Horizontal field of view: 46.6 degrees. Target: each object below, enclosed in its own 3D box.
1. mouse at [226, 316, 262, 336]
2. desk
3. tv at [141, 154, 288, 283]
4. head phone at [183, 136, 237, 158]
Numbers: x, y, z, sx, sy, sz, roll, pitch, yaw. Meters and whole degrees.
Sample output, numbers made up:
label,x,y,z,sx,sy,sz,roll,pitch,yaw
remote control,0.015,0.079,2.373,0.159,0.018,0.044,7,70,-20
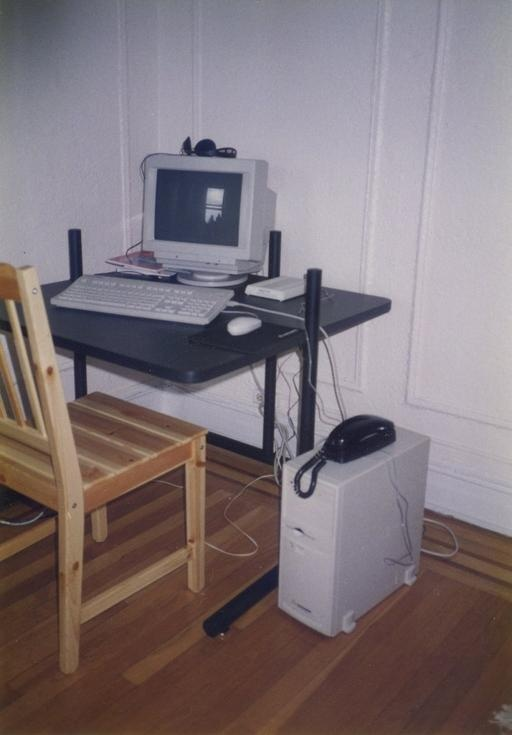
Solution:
label,x,y,z,sx,sy,sz,roll,pitch,yaw
mouse,-0.027,-0.099,1.308,0.060,0.016,0.044,-19,28,-29
desk,-0.234,0.137,1.871,1.189,1.039,0.980,15,27,32
tv,-0.139,-0.426,1.960,0.489,0.421,0.345,10,22,20
head phone,-0.157,-0.716,1.942,0.168,0.063,0.123,13,30,-2
